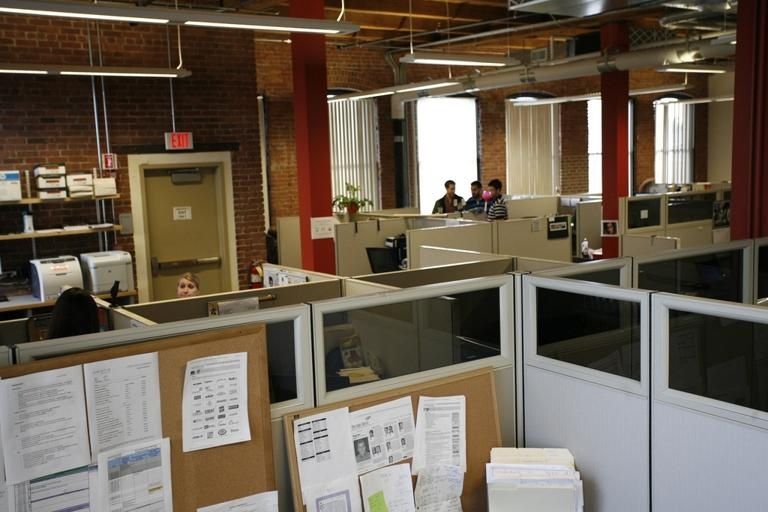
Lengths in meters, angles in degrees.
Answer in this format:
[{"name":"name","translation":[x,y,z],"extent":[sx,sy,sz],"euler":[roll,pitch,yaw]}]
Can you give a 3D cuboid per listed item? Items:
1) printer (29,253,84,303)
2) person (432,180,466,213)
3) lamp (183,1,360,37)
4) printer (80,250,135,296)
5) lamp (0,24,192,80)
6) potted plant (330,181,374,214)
[{"name":"printer","translation":[-3.400,0.248,6.522],"extent":[0.393,0.466,0.527],"euler":[1,6,44]},{"name":"person","translation":[1.142,-1.029,11.019],"extent":[0.491,0.560,0.795],"euler":[-2,11,11]},{"name":"lamp","translation":[-0.962,-1.914,5.128],"extent":[1.334,0.209,0.685],"euler":[-8,11,-26]},{"name":"printer","translation":[-3.210,0.148,7.466],"extent":[0.621,0.533,0.642],"euler":[-6,3,-43]},{"name":"lamp","translation":[-3.423,-2.386,7.198],"extent":[1.857,0.733,1.344],"euler":[-11,13,-36]},{"name":"potted plant","translation":[-0.626,-0.936,10.694],"extent":[0.775,0.479,0.733],"euler":[-1,3,10]}]
